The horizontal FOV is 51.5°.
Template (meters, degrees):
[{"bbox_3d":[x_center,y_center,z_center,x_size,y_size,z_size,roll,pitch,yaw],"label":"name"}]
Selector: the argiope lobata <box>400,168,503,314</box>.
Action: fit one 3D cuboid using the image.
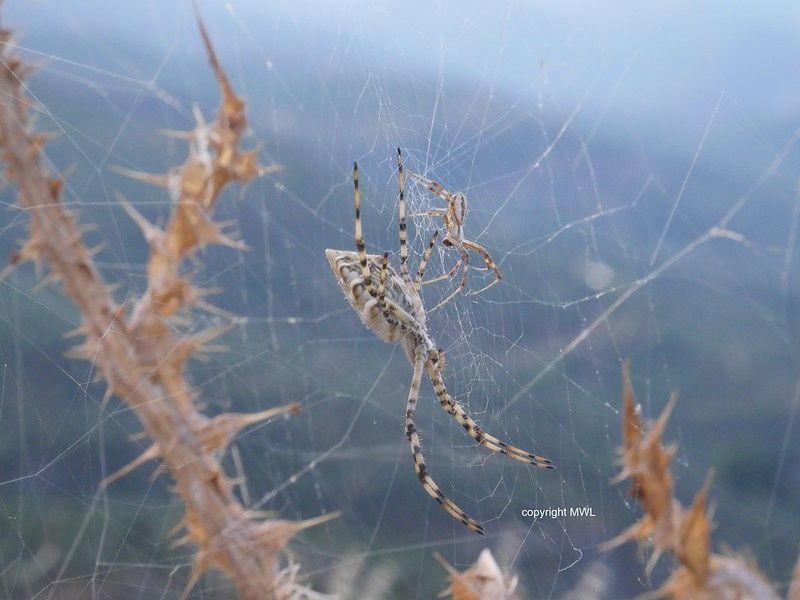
[{"bbox_3d":[0.316,-0.355,4.789,0.171,0.587,0.639,-21,-60,-15],"label":"argiope lobata"}]
